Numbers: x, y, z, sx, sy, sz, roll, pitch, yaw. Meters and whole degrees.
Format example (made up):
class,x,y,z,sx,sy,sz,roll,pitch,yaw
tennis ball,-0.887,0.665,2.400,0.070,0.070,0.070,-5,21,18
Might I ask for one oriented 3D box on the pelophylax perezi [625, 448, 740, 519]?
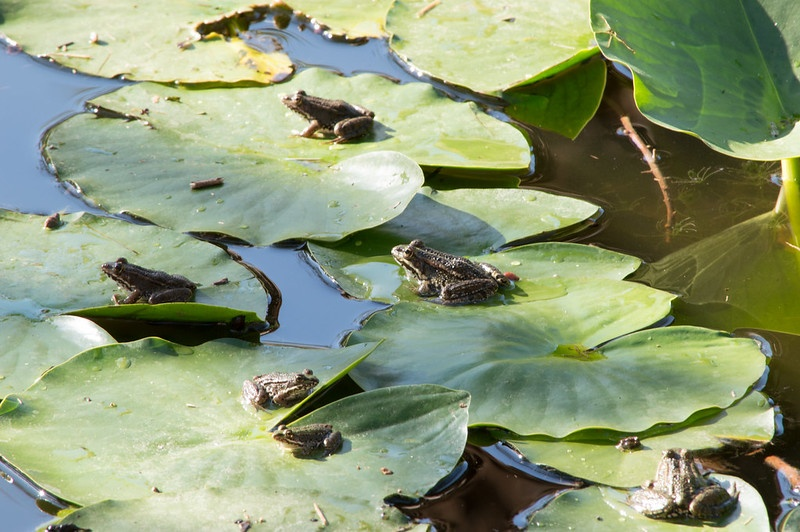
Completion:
class,x,y,z,sx,sy,sz,roll,pitch,yaw
pelophylax perezi,2.081,1.628,7.433,0.886,0.259,0.527,4,42,12

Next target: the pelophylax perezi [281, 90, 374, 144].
class,x,y,z,sx,sy,sz,roll,pitch,yaw
pelophylax perezi,-0.682,-1.465,9.840,0.728,0.235,0.600,9,30,0

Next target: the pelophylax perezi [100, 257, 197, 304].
class,x,y,z,sx,sy,sz,roll,pitch,yaw
pelophylax perezi,-2.101,0.146,8.253,0.840,0.274,0.417,11,53,3
